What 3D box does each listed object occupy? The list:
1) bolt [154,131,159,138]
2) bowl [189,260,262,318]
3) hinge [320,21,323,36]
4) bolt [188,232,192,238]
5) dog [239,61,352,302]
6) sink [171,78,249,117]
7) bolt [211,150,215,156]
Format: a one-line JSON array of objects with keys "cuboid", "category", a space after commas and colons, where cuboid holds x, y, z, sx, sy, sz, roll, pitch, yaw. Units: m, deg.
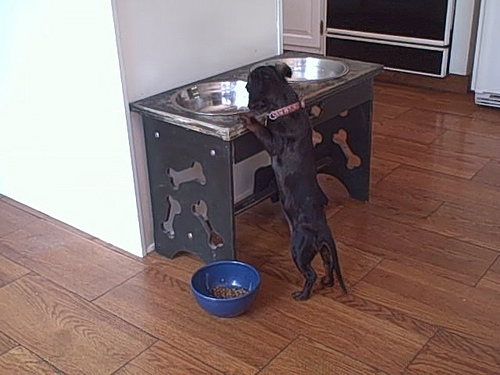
[{"cuboid": [-0.409, -0.232, 1.819, 0.020, 0.021, 0.005, 3, 10, 39], "category": "bolt"}, {"cuboid": [-0.101, 0.387, 1.682, 0.238, 0.109, 0.245, -1, 23, 0], "category": "bowl"}, {"cuboid": [0.736, -1.639, 4.261, 0.032, 0.131, 0.016, 11, 34, 23], "category": "hinge"}, {"cuboid": [-0.272, 0.218, 1.890, 0.017, 0.016, 0.017, 0, 4, 30], "category": "bolt"}, {"cuboid": [0.194, -0.085, 1.848, 0.428, 1.224, 0.319, -10, -2, 44], "category": "dog"}, {"cuboid": [-0.181, -0.414, 1.970, 0.347, 0.129, 0.254, -5, 32, -3], "category": "sink"}, {"cuboid": [-0.147, -0.139, 1.665, 0.017, 0.024, 0.004, 15, 36, 28], "category": "bolt"}]
